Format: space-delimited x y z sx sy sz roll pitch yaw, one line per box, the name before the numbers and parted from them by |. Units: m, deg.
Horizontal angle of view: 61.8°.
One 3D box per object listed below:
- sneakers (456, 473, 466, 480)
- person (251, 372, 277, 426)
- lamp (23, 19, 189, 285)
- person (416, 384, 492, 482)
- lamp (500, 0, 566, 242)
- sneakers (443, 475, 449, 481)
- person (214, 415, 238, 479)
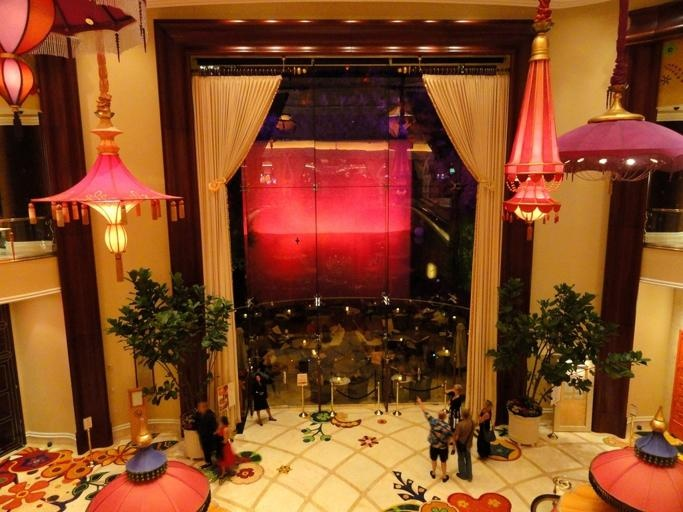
sneakers | 1.952 3.579 9.248 0.061 0.126 0.178 -6 4 -37
person | -1.527 2.681 11.043 0.417 0.947 0.666 -2 9 -10
lamp | -2.989 -1.245 7.355 1.894 2.987 1.837 -2 6 18
person | 1.790 3.024 9.408 0.781 1.147 0.743 0 9 3
lamp | 2.439 -1.640 7.170 0.684 2.820 1.897 2 10 18
sneakers | 1.685 3.592 9.169 0.060 0.040 0.111 24 46 24
person | -1.928 3.133 9.520 0.332 0.914 0.566 -3 9 -11
